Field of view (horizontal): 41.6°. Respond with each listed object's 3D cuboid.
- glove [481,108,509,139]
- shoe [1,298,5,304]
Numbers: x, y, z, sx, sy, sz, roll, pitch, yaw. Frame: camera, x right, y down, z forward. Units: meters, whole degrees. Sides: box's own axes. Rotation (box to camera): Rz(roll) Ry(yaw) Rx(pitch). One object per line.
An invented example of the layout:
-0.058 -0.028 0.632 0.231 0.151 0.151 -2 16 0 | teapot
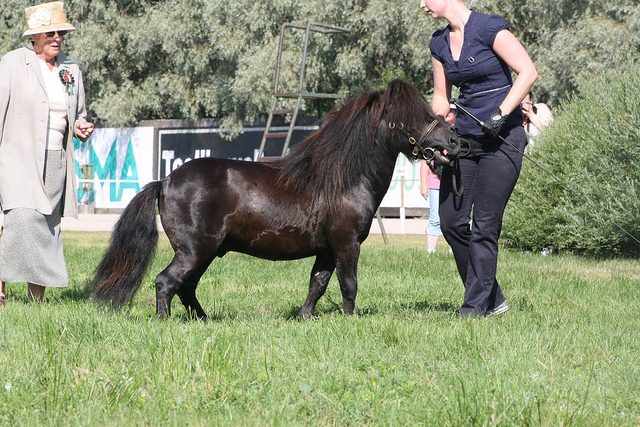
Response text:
2.114 -1.111 10.056 0.222 0.385 0.148 36 -10 6 | glove
-4.089 1.151 10.930 0.058 0.068 0.063 -1 -13 -9 | shoe
